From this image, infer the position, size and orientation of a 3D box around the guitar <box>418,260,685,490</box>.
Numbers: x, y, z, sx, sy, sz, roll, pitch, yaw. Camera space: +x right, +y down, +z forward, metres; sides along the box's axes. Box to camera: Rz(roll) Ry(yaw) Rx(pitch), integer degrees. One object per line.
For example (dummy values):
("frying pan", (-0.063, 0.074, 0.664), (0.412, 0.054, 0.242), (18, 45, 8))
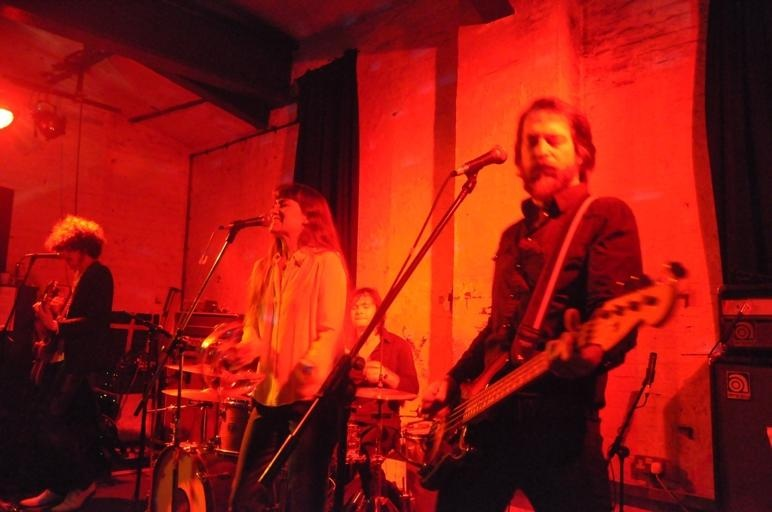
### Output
("guitar", (0.859, 0.696, 3.622), (1.379, 1.327, 0.267), (-1, -12, 38))

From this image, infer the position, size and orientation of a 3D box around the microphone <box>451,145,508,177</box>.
("microphone", (0.619, -0.620, 4.050), (0.398, 0.154, 0.158), (-19, -5, -19))

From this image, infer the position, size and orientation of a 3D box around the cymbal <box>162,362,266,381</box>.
("cymbal", (-1.270, 0.855, 4.925), (0.408, 0.085, 0.413), (1, -23, 18))

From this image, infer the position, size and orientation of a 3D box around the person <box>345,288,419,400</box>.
("person", (0.006, 0.664, 5.480), (0.652, 0.856, 0.957), (6, -9, -3))

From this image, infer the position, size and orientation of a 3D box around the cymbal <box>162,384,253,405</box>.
("cymbal", (-1.306, 1.038, 4.966), (0.494, 0.039, 0.474), (-1, -4, -4))

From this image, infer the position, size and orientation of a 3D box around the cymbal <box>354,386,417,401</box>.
("cymbal", (-0.033, 1.032, 4.971), (0.418, 0.093, 0.432), (11, -10, -27))

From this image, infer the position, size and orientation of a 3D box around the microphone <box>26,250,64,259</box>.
("microphone", (-3.339, -0.008, 6.508), (0.401, 0.072, 0.055), (-2, -33, 23))
